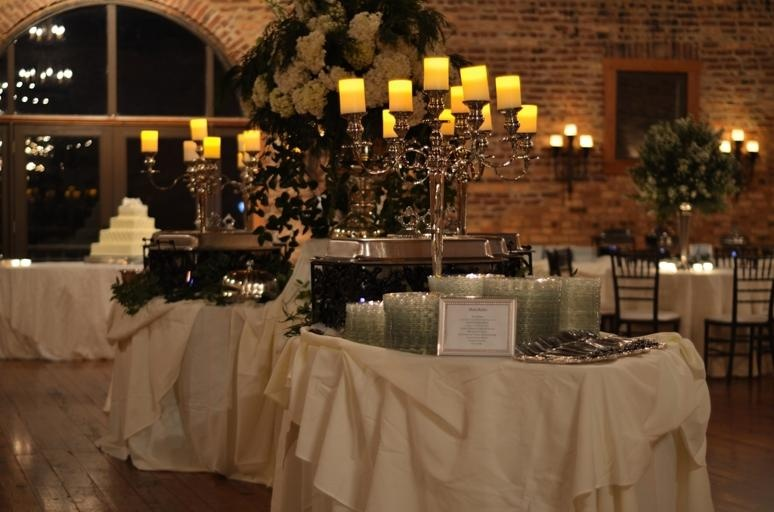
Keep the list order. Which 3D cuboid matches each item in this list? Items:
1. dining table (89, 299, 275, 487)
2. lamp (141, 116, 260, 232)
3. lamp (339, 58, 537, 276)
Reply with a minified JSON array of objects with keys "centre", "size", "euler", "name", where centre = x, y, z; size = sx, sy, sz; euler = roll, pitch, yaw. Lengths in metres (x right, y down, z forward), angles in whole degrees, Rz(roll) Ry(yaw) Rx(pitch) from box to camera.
[{"centre":[-1.298,0.850,5.713],"size":[1.326,1.161,0.350],"euler":[6,9,30],"name":"dining table"},{"centre":[-1.380,-0.566,6.411],"size":[0.741,0.832,0.787],"euler":[1,5,-14],"name":"lamp"},{"centre":[0.299,-0.455,5.121],"size":[0.823,1.261,1.116],"euler":[0,-5,4],"name":"lamp"}]
